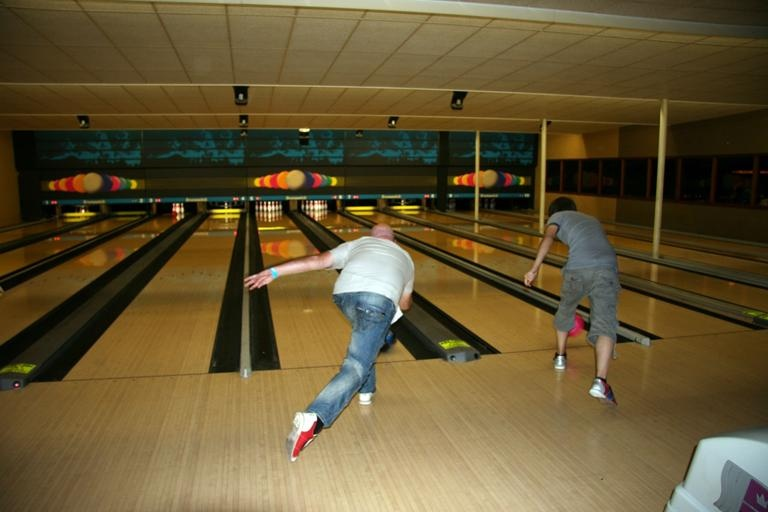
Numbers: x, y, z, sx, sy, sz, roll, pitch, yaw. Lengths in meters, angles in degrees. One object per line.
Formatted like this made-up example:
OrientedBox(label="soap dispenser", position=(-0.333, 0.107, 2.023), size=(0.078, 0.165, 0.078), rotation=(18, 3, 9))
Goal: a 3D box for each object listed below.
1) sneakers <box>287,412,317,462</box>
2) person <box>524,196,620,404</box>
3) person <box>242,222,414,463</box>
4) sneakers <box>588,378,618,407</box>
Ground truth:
OrientedBox(label="sneakers", position=(-0.411, 0.892, 2.436), size=(0.160, 0.288, 0.178), rotation=(-5, 14, -12))
OrientedBox(label="person", position=(1.259, 0.234, 3.103), size=(0.555, 1.185, 0.921), rotation=(-4, 14, -9))
OrientedBox(label="person", position=(-0.441, 0.363, 2.618), size=(1.066, 0.452, 1.423), rotation=(8, 46, 3))
OrientedBox(label="sneakers", position=(1.294, 0.795, 2.835), size=(0.137, 0.185, 0.156), rotation=(5, 15, 25))
